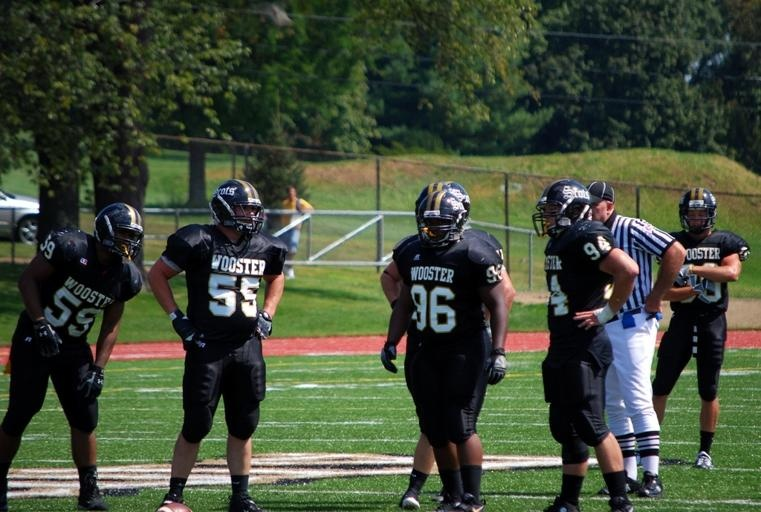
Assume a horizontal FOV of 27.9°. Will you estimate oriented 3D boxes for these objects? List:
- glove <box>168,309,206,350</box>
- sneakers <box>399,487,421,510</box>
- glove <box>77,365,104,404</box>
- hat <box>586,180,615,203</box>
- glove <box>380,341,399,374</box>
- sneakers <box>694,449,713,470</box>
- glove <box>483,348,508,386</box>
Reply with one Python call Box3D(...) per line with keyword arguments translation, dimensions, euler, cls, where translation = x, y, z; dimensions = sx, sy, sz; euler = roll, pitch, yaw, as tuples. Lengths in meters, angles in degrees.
Box3D(translation=(-2.881, 1.104, 22.772), dimensions=(0.601, 0.556, 0.213), euler=(3, 3, 27), cls="glove")
Box3D(translation=(0.467, 3.625, 22.867), dimensions=(0.165, 0.206, 0.461), euler=(7, -25, 2), cls="sneakers")
Box3D(translation=(-4.324, 1.942, 23.102), dimensions=(0.171, 0.481, 0.352), euler=(6, -26, 34), cls="glove")
Box3D(translation=(3.476, -0.971, 23.852), dimensions=(0.414, 0.232, 0.288), euler=(11, 6, -8), cls="hat")
Box3D(translation=(0.147, 1.583, 23.256), dimensions=(0.202, 0.457, 0.334), euler=(1, 26, -6), cls="glove")
Box3D(translation=(5.094, 3.200, 23.972), dimensions=(0.288, 0.247, 0.324), euler=(2, 3, 13), cls="sneakers")
Box3D(translation=(1.743, 1.659, 22.702), dimensions=(0.169, 0.478, 0.356), euler=(-7, -38, 15), cls="glove")
